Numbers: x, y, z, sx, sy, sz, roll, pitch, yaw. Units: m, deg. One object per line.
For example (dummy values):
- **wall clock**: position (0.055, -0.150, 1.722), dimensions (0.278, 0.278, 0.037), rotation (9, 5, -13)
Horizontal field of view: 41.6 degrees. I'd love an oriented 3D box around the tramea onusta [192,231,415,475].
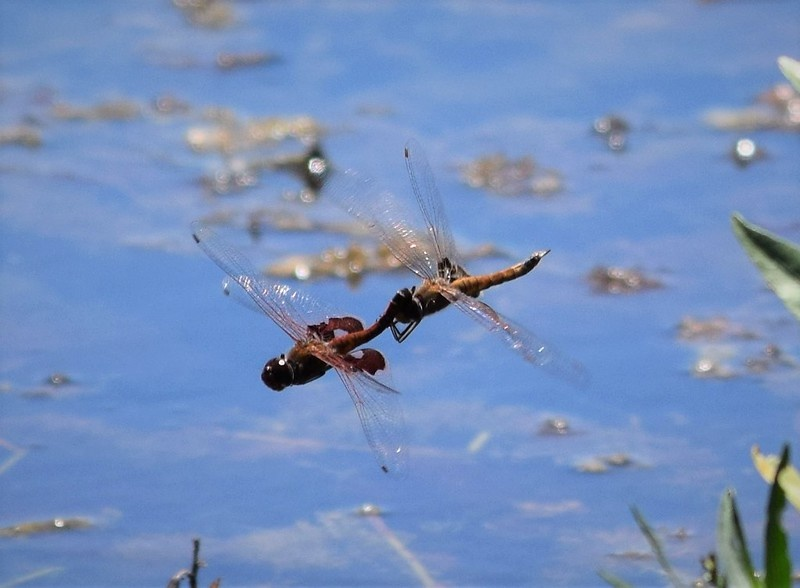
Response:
- **tramea onusta**: position (-0.337, 0.185, 3.664), dimensions (0.787, 0.816, 0.196), rotation (21, -45, -35)
